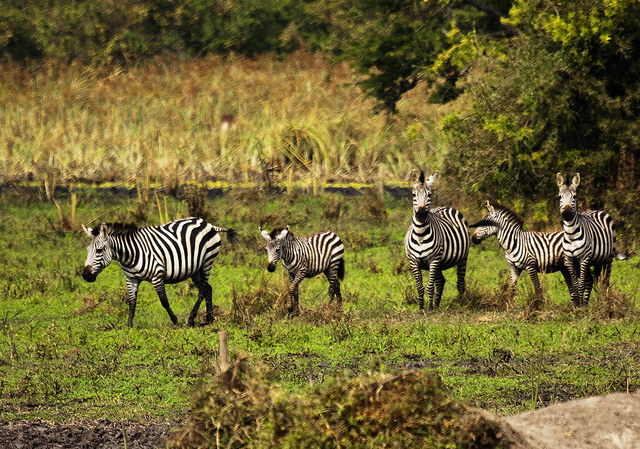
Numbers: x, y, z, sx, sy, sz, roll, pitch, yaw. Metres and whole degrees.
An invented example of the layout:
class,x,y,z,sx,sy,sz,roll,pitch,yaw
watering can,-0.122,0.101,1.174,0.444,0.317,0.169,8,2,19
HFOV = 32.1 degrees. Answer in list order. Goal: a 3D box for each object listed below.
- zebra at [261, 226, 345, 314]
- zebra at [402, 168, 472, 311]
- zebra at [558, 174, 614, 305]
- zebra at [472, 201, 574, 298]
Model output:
class,x,y,z,sx,sy,sz,roll,pitch,yaw
zebra,-0.248,0.790,21.210,0.643,1.603,2.171,2,7,43
zebra,2.278,0.271,21.217,1.173,2.637,0.651,-3,3,-33
zebra,4.993,0.371,21.164,0.792,2.396,2.712,1,-1,30
zebra,4.089,0.513,21.318,2.410,1.889,0.706,1,-3,-20
